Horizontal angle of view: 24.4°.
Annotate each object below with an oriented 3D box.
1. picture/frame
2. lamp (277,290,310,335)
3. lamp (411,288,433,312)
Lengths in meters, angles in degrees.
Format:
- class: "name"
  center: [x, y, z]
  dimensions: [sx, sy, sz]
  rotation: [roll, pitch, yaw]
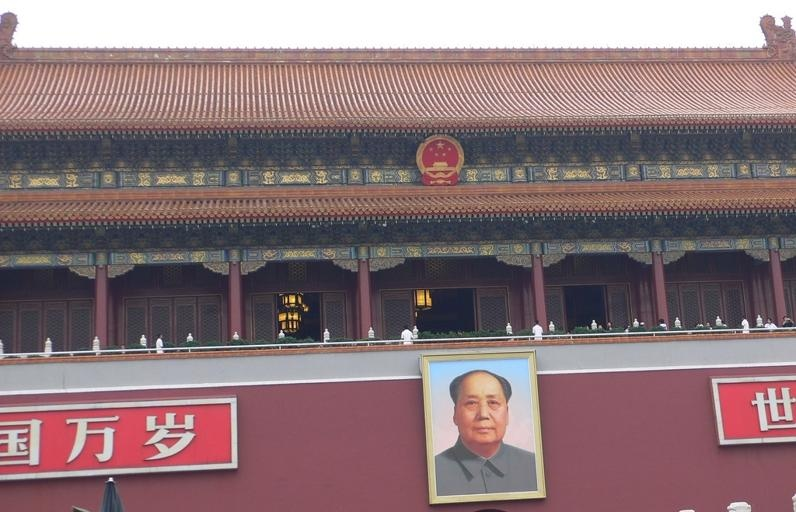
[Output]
- class: "picture/frame"
  center: [1.971, 4.253, 44.167]
  dimensions: [4.176, 4.246, 0.182]
  rotation: [-2, -12, -5]
- class: "lamp"
  center: [-2.689, 1.475, 47.430]
  dimensions: [0.835, 1.088, 0.215]
  rotation: [-2, -13, -3]
- class: "lamp"
  center: [0.653, 1.096, 47.803]
  dimensions: [0.562, 0.482, 0.547]
  rotation: [-5, -7, 28]
